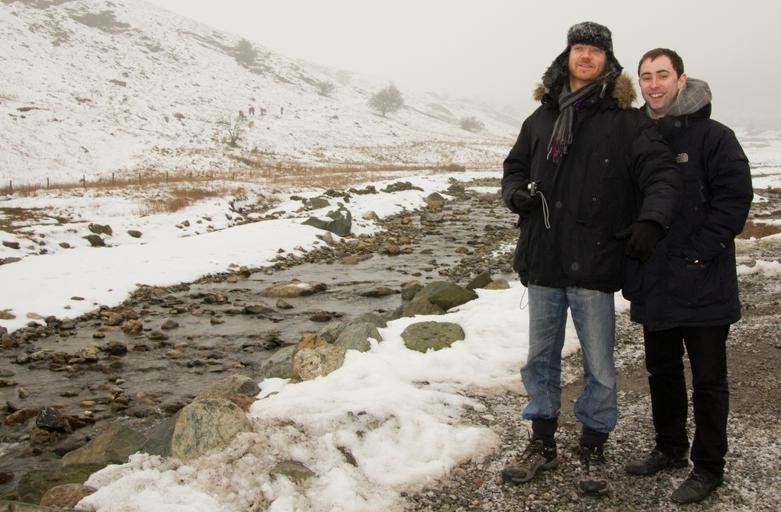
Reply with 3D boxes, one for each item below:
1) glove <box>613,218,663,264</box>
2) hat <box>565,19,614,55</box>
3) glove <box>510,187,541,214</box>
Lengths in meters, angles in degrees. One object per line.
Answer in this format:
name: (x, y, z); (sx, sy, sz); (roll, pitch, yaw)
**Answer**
glove: (2.865, -0.185, 6.741); (0.520, 0.449, 0.364); (6, 19, 16)
hat: (2.321, -2.528, 6.793); (0.510, 0.336, 0.622); (5, 18, 14)
glove: (1.616, -0.663, 7.198); (0.370, 0.319, 0.276); (24, 13, 41)
